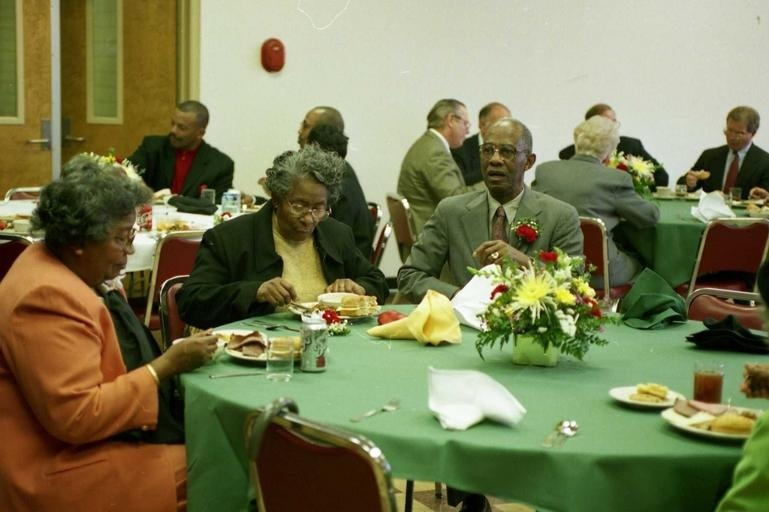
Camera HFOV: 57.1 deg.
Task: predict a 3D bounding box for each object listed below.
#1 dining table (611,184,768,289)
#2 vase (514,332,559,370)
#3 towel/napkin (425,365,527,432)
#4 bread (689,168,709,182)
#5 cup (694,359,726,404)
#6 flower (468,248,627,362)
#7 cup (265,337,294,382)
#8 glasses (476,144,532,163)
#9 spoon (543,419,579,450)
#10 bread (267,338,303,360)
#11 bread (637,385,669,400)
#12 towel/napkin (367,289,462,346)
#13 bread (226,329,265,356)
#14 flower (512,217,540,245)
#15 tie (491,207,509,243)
[{"bbox_3d":[2.215,-0.129,5.400,0.745,0.489,0.882,6,8,39],"label":"dining table"},{"bbox_3d":[0.545,0.338,2.543,0.118,0.080,0.126,1,5,10],"label":"vase"},{"bbox_3d":[0.270,0.440,2.158,0.308,0.140,0.232,6,5,22],"label":"towel/napkin"},{"bbox_3d":[3.025,-0.771,6.818,0.182,0.080,0.144,-5,1,-23],"label":"bread"},{"bbox_3d":[1.050,0.414,2.292,0.097,0.182,0.104,0,8,0],"label":"cup"},{"bbox_3d":[0.558,0.083,2.510,0.428,0.328,0.415,-6,8,-39],"label":"flower"},{"bbox_3d":[-0.344,0.353,2.445,0.118,0.146,0.116,1,5,0],"label":"cup"},{"bbox_3d":[0.643,-0.530,3.653,0.278,0.086,0.186,4,4,0],"label":"glasses"},{"bbox_3d":[0.514,0.519,2.055,0.054,0.030,0.093,10,11,29],"label":"spoon"},{"bbox_3d":[-0.341,0.301,2.420,0.086,0.071,0.088,0,0,37],"label":"bread"},{"bbox_3d":[0.855,0.430,2.259,0.057,0.020,0.057,5,5,-35],"label":"bread"},{"bbox_3d":[0.136,0.260,2.732,0.232,0.098,0.255,-3,17,4],"label":"towel/napkin"},{"bbox_3d":[-0.487,0.316,2.530,0.094,0.032,0.084,13,17,26],"label":"bread"},{"bbox_3d":[0.713,-0.116,3.586,0.111,0.091,0.134,32,-30,13],"label":"flower"},{"bbox_3d":[0.591,-0.167,3.624,0.086,0.167,0.065,4,5,9],"label":"tie"}]
